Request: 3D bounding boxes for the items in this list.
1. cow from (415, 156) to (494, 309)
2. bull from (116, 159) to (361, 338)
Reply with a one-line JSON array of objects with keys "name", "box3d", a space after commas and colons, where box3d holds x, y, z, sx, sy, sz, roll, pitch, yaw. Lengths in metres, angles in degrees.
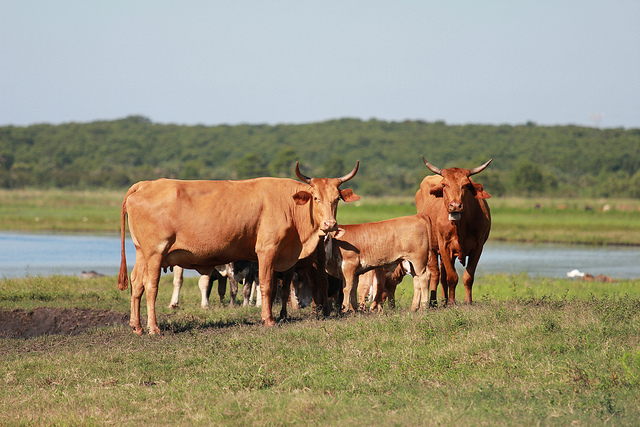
[{"name": "cow", "box3d": [4.109, 0.498, 33.685, 2.054, 4.342, 3.852, -1, 0, 6]}, {"name": "bull", "box3d": [-2.078, 0.938, 32.705, 6.619, 4.868, 1.988, -2, 4, -13]}]
